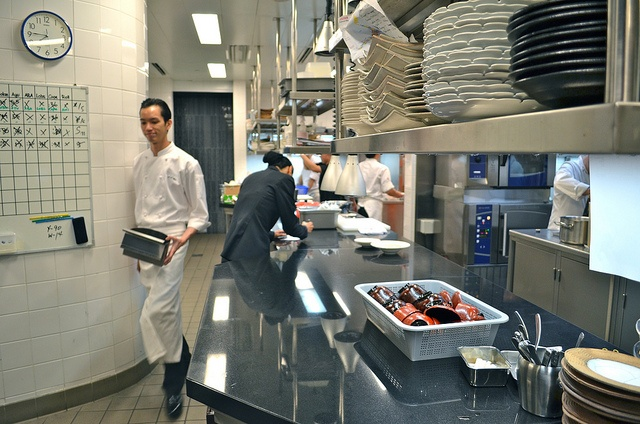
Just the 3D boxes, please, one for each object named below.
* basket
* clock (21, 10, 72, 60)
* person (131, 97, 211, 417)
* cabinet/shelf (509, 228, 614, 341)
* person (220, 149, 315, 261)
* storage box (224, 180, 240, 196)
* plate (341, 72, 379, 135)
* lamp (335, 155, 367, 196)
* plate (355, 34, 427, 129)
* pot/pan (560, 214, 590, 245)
[{"bbox_3d":[0.444,0.445,1.745,0.510,0.157,0.333,-2,11,-3],"label":"basket"},{"bbox_3d":[-1.793,-1.138,2.858,0.274,0.322,0.027,-7,45,-36],"label":"clock"},{"bbox_3d":[-1.164,0.264,3.208,0.584,2.133,0.651,0,11,5],"label":"person"},{"bbox_3d":[1.606,0.471,2.849,0.270,0.562,0.789,1,6,-9],"label":"cabinet/shelf"},{"bbox_3d":[-0.418,0.000,3.315,0.647,0.852,0.815,-5,12,-21],"label":"person"},{"bbox_3d":[-1.338,-0.337,6.604,0.297,0.187,0.300,0,1,-14],"label":"storage box"},{"bbox_3d":[0.138,-0.441,1.862,0.235,0.187,0.255,-1,7,-3],"label":"plate"},{"bbox_3d":[0.226,-0.266,3.281,0.216,0.321,0.222,-1,11,-2],"label":"lamp"},{"bbox_3d":[0.234,-0.425,1.456,0.257,0.178,0.302,-6,2,10],"label":"plate"},{"bbox_3d":[1.975,0.143,3.386,0.226,0.221,0.164,10,15,43],"label":"pot/pan"}]
